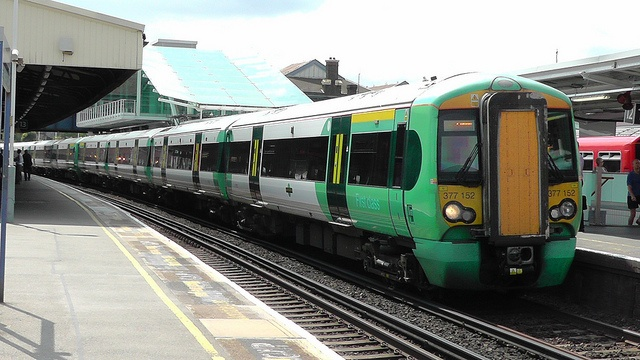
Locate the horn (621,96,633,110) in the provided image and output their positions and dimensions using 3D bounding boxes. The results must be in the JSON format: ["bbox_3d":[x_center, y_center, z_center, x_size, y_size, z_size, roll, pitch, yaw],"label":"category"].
[{"bbox_3d":[12.386,-3.124,17.555,0.426,0.598,0.350,6,1,10],"label":"horn"}]
